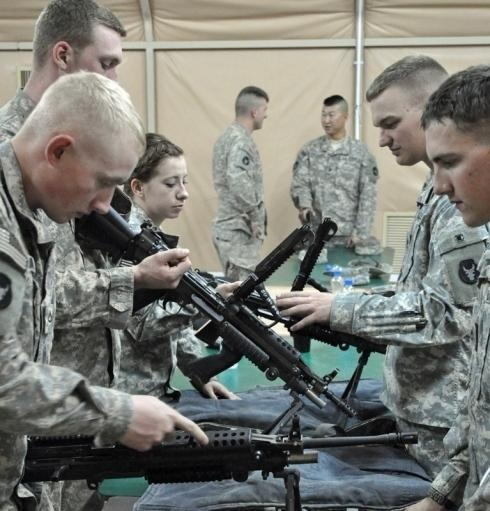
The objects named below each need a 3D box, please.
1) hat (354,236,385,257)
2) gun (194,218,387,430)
[{"bbox_3d":[1.280,-0.091,6.832,0.280,0.099,0.316,1,5,1],"label":"hat"},{"bbox_3d":[0.216,0.244,2.854,1.061,0.397,0.802,36,1,14],"label":"gun"}]
